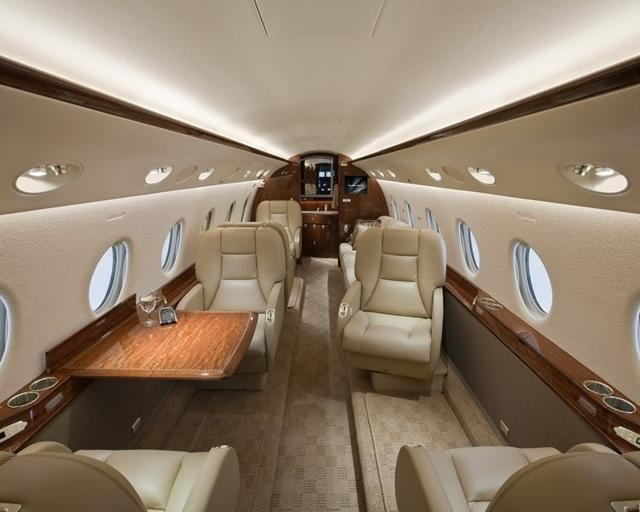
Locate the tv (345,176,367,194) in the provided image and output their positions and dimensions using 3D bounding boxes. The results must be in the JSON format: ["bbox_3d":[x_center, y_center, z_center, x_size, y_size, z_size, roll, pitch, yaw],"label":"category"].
[{"bbox_3d":[0.728,-1.357,8.016,0.517,0.486,0.291,0,-1,3],"label":"tv"}]

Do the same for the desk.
[{"bbox_3d":[-1.084,0.735,2.996,1.118,0.345,0.973,-1,11,0],"label":"desk"}]

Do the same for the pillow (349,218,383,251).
[{"bbox_3d":[0.823,-0.426,7.351,0.208,0.551,0.526,24,-6,-20],"label":"pillow"}]

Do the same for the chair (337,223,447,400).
[{"bbox_3d":[0.752,0.535,3.997,1.071,1.450,1.266,-1,16,2],"label":"chair"}]

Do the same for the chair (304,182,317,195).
[{"bbox_3d":[-0.191,-1.421,8.378,0.178,0.268,0.258,6,21,13],"label":"chair"}]

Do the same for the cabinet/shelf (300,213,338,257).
[{"bbox_3d":[0.029,-0.510,8.791,0.908,0.929,0.628,4,13,8],"label":"cabinet/shelf"}]

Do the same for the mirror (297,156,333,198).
[{"bbox_3d":[-0.092,-1.674,8.211,0.761,0.958,0.093,0,11,-1],"label":"mirror"}]
